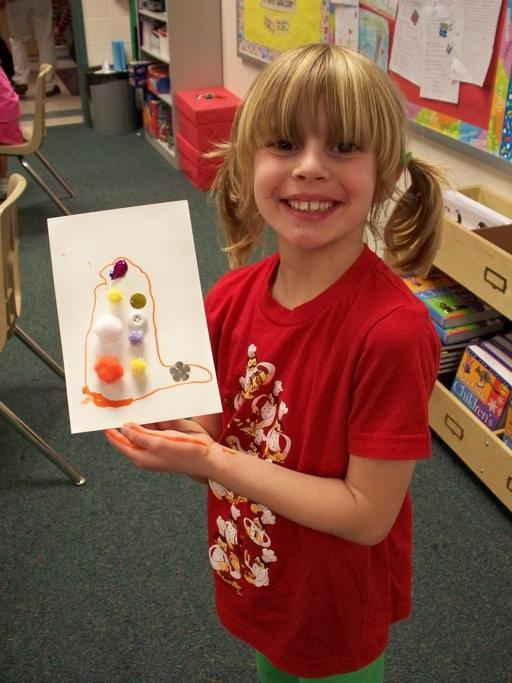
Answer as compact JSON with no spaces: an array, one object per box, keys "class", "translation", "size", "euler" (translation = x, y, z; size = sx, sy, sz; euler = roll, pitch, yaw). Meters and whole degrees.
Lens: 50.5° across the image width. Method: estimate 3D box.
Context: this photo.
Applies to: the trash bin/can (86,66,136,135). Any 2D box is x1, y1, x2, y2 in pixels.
[{"class":"trash bin/can","translation":[-1.227,-2.229,5.032],"size":[0.498,0.511,0.494],"euler":[-3,37,-4]}]
